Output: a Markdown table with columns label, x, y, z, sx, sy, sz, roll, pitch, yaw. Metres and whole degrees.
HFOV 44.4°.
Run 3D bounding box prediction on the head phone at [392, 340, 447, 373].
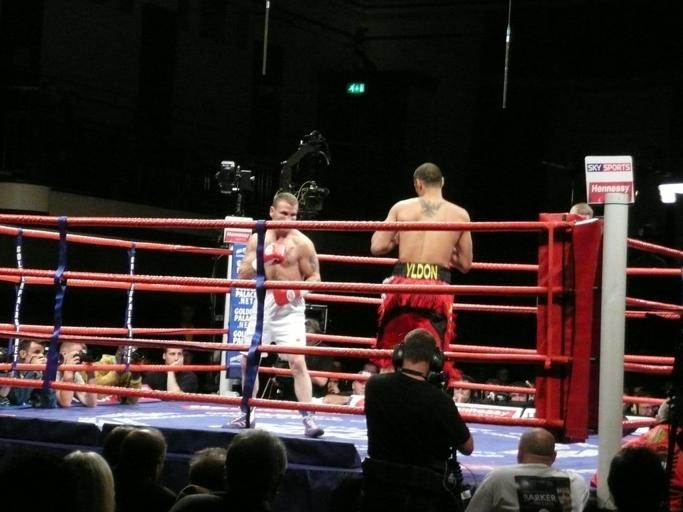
| label | x | y | z | sx | sy | sz | roll | pitch | yaw |
| --- | --- | --- | --- | --- | --- | --- | --- | --- | --- |
| head phone | 0.405 | 0.529 | 4.388 | 0.263 | 0.193 | 0.097 | 5 | -12 | 10 |

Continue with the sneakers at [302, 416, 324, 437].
| label | x | y | z | sx | sy | sz | roll | pitch | yaw |
| --- | --- | --- | --- | --- | --- | --- | --- | --- | --- |
| sneakers | -0.176 | 1.078 | 5.273 | 0.129 | 0.127 | 0.288 | 3 | -6 | 0 |

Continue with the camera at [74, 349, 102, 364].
| label | x | y | z | sx | sy | sz | roll | pitch | yaw |
| --- | --- | --- | --- | --- | --- | --- | --- | --- | --- |
| camera | -1.871 | 0.733 | 6.062 | 0.214 | 0.107 | 0.085 | -3 | -2 | 38 |

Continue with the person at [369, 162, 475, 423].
| label | x | y | z | sx | sy | sz | roll | pitch | yaw |
| --- | --- | --- | --- | --- | --- | --- | --- | --- | --- |
| person | 0.491 | 0.053 | 5.204 | 0.642 | 1.413 | 0.554 | 3 | -7 | 6 |

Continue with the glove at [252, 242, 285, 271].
| label | x | y | z | sx | sy | sz | roll | pitch | yaw |
| --- | --- | --- | --- | --- | --- | --- | --- | --- | --- |
| glove | -0.462 | -0.002 | 5.640 | 0.238 | 0.153 | 0.086 | -12 | -35 | 12 |

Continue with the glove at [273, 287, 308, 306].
| label | x | y | z | sx | sy | sz | roll | pitch | yaw |
| --- | --- | --- | --- | --- | --- | --- | --- | --- | --- |
| glove | -0.317 | 0.276 | 5.552 | 0.239 | 0.106 | 0.245 | 5 | -6 | -26 |
